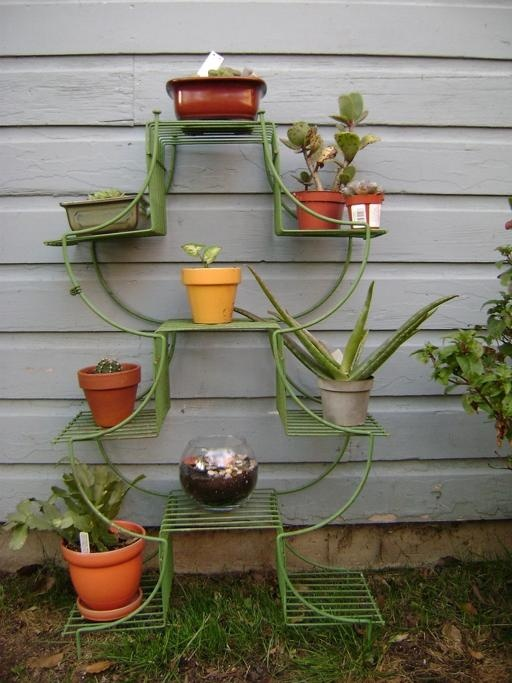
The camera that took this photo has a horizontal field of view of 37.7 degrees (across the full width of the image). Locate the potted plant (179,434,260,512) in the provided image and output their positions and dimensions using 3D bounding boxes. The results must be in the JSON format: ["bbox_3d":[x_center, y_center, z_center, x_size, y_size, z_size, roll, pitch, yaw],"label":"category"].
[{"bbox_3d":[-0.111,0.395,2.189,0.221,0.188,0.175,-1,24,-4],"label":"potted plant"}]

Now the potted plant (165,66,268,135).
[{"bbox_3d":[-0.115,-0.683,2.160,0.284,0.186,0.125,0,25,-1],"label":"potted plant"}]

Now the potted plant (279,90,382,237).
[{"bbox_3d":[0.240,-0.525,2.249,0.350,0.353,0.282,4,11,10],"label":"potted plant"}]

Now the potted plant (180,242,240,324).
[{"bbox_3d":[-0.127,-0.168,2.180,0.161,0.222,0.164,-19,31,-37],"label":"potted plant"}]

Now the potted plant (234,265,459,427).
[{"bbox_3d":[0.227,0.000,2.270,0.603,0.340,0.544,1,-2,-17],"label":"potted plant"}]

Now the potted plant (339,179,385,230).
[{"bbox_3d":[0.313,-0.397,2.246,0.141,0.118,0.119,-6,3,-7],"label":"potted plant"}]

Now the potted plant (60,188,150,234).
[{"bbox_3d":[-0.418,-0.374,2.192,0.274,0.112,0.202,-8,24,-21],"label":"potted plant"}]

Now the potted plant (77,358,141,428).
[{"bbox_3d":[-0.405,0.153,2.276,0.239,0.193,0.204,-1,2,-3],"label":"potted plant"}]

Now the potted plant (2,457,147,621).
[{"bbox_3d":[-0.537,0.544,2.257,0.388,0.517,0.460,-3,24,-8],"label":"potted plant"}]
